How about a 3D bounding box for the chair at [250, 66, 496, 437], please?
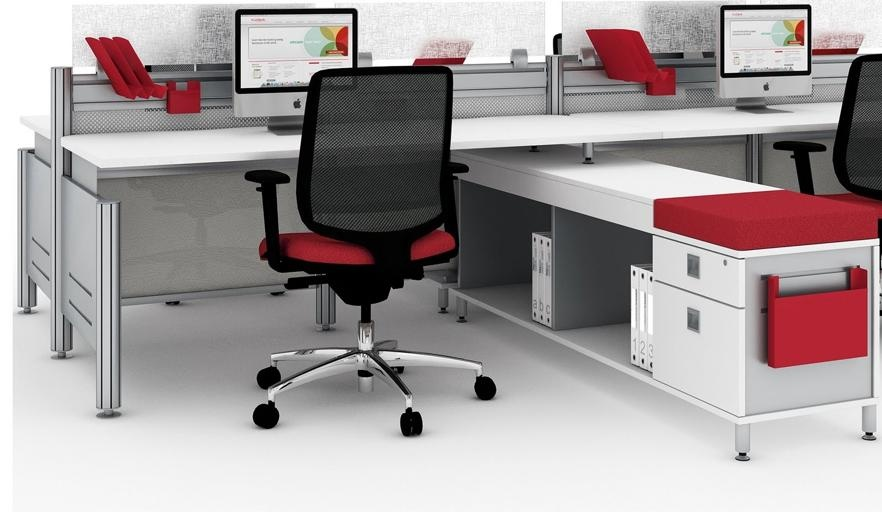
[{"bbox_3d":[-0.381,-0.040,3.514,1.197,1.732,0.579,-6,22,-6],"label":"chair"}]
